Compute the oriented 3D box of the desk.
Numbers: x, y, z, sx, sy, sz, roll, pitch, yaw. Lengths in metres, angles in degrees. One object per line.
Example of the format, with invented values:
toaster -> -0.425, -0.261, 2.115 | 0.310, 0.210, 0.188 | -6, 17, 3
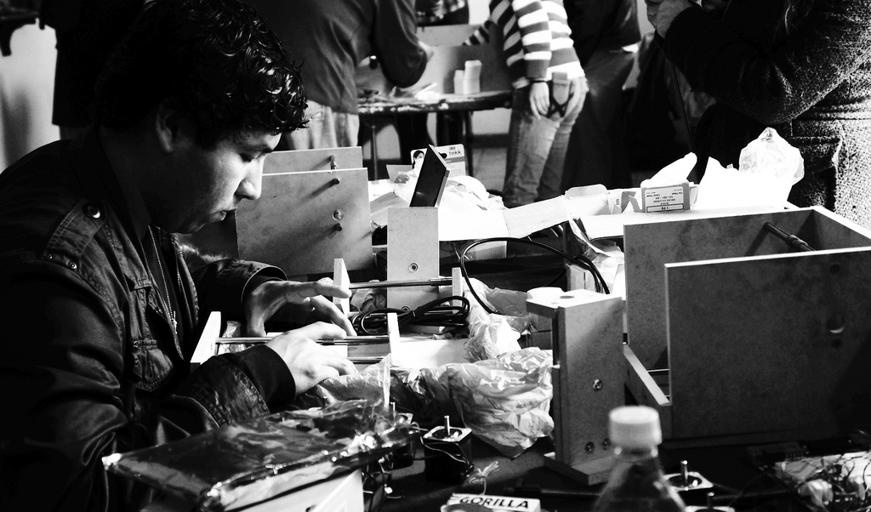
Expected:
desk -> 0.009, -0.611, 5.051 | 0.987, 0.644, 0.520 | -4, 17, -9
